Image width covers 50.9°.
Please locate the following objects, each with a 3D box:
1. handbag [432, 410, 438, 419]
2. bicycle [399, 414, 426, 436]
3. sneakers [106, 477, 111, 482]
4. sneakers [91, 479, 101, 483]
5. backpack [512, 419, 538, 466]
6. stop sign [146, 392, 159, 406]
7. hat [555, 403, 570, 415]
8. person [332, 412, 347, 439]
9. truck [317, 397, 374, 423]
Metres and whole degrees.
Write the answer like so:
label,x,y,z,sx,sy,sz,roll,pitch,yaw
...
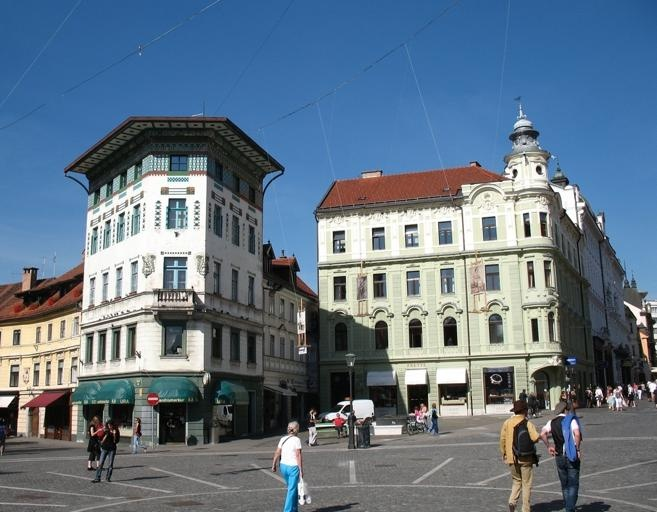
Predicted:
label,x,y,z,sx,sy,sz,roll,pitch,yaw
handbag,6.410,9.602,41.993,0.237,0.437,0.575,-3,-16,0
bicycle,5.390,10.712,43.846,0.630,1.178,1.805,-16,-20,39
sneakers,-8.054,8.206,25.296,0.121,0.217,0.199,-3,-14,1
sneakers,-8.388,8.148,25.024,0.289,0.131,0.110,7,-11,-6
backpack,5.043,4.761,17.722,0.638,1.163,0.396,5,-17,-28
stop sign,-10.104,8.227,39.944,0.617,0.740,1.158,1,-16,-15
hat,6.018,3.940,17.869,0.258,0.140,0.374,-22,-6,-27
person,0.705,11.037,44.785,1.113,2.462,1.005,0,23,6
truck,1.498,11.324,51.245,3.097,1.643,1.893,1,-13,1
